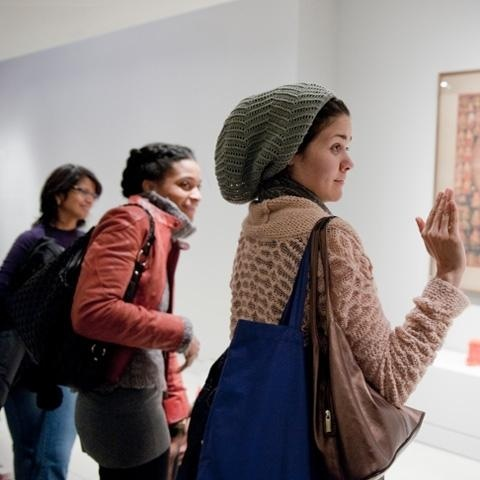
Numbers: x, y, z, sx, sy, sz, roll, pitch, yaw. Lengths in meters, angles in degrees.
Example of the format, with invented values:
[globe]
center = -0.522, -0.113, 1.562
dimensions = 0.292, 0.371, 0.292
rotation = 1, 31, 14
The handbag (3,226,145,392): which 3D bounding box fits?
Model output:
[handbag]
center = -0.623, 0.222, 1.798
dimensions = 0.452, 0.575, 0.121
rotation = 8, -1, 34
